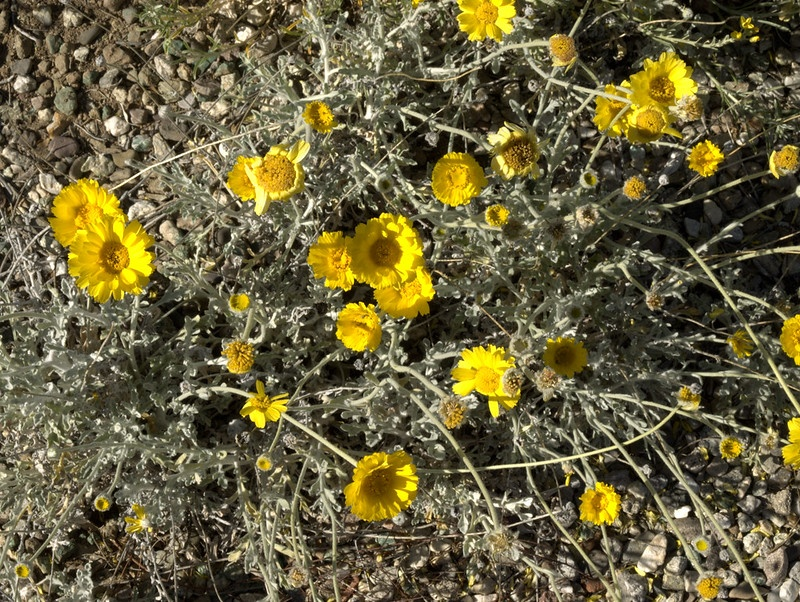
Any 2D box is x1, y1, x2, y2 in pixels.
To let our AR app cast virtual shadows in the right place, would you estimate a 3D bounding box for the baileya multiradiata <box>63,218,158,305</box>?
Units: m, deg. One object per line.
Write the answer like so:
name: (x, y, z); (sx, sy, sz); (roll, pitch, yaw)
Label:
baileya multiradiata: (-1.310, -0.202, 3.517); (0.357, 0.155, 0.379); (-4, 86, 0)
